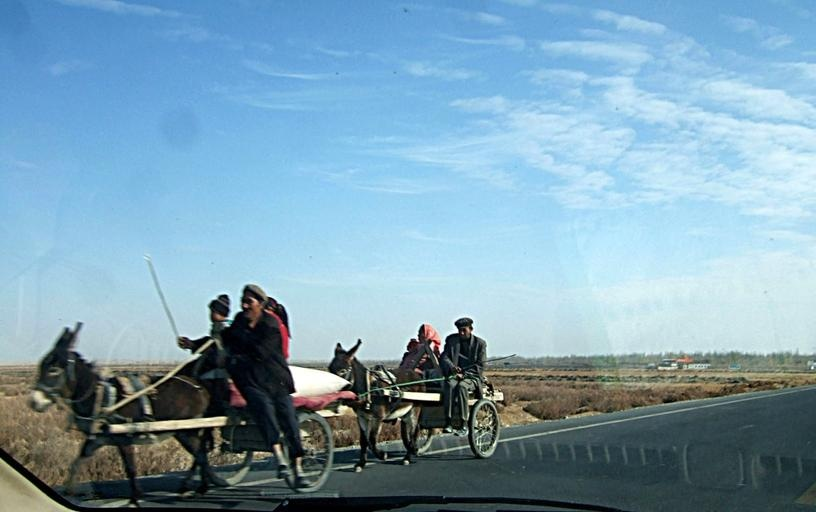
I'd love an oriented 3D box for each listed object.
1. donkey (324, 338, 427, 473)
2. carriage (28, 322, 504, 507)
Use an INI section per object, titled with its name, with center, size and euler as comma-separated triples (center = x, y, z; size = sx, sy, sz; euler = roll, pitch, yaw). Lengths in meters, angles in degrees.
[donkey]
center = -0.761, 3.659, 16.306
size = 1.220, 2.886, 4.089
euler = -8, -17, 30
[carriage]
center = -3.095, 3.413, 15.117
size = 10.027, 3.295, 3.236
euler = 11, -17, -44
